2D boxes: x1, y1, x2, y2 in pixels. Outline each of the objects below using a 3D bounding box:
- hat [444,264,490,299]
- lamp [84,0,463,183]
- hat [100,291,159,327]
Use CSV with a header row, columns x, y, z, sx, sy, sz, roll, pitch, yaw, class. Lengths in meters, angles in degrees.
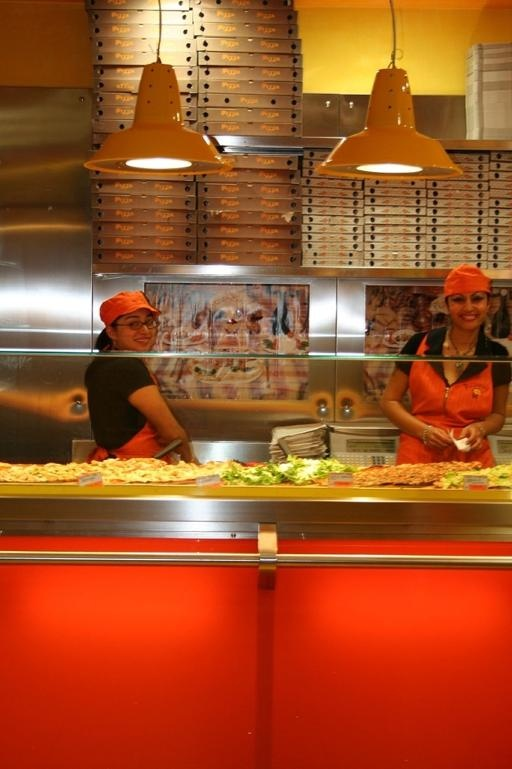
x,y,z,sx,sy,sz,roll,pitch,yaw,class
0.708,-0.347,2.202,0.123,0.083,0.121,-3,8,18,hat
0.058,-0.824,1.809,1.083,0.492,0.422,-1,8,-2,lamp
-0.405,-0.228,1.988,0.160,0.082,0.124,-21,-1,34,hat
